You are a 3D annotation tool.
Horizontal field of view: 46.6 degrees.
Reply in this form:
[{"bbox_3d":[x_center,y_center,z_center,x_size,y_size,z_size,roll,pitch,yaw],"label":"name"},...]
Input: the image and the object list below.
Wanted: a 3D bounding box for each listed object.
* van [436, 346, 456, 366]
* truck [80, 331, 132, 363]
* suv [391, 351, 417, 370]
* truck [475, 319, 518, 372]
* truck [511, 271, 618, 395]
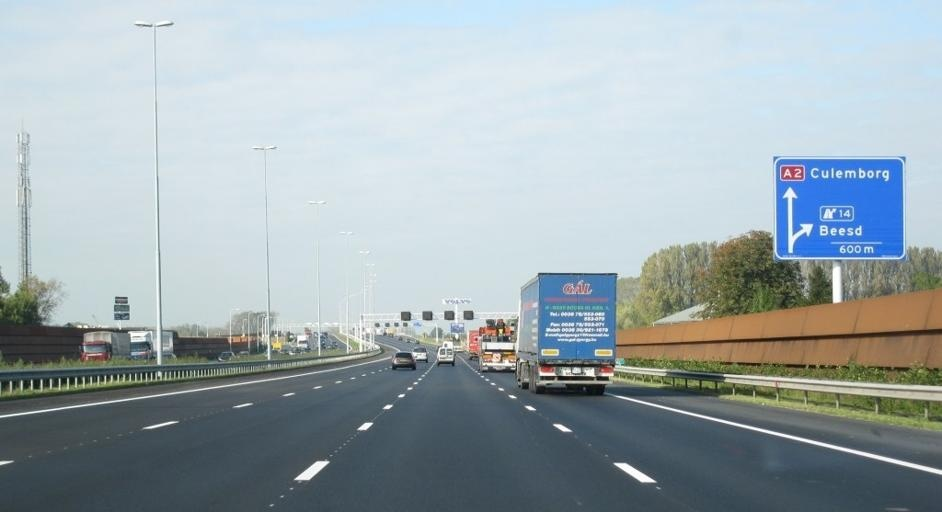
[{"bbox_3d":[-2.372,9.755,105.305,1.257,1.192,2.299,1,2,-1],"label":"van"},{"bbox_3d":[-35.537,8.724,105.151,2.362,3.521,6.950,-2,-10,2],"label":"truck"},{"bbox_3d":[-5.500,8.831,89.873,1.487,1.469,4.040,0,6,2],"label":"suv"},{"bbox_3d":[2.088,7.503,89.789,3.337,3.448,6.826,1,-2,-1],"label":"truck"},{"bbox_3d":[4.905,4.084,57.265,5.583,6.567,3.651,3,8,24],"label":"truck"}]
